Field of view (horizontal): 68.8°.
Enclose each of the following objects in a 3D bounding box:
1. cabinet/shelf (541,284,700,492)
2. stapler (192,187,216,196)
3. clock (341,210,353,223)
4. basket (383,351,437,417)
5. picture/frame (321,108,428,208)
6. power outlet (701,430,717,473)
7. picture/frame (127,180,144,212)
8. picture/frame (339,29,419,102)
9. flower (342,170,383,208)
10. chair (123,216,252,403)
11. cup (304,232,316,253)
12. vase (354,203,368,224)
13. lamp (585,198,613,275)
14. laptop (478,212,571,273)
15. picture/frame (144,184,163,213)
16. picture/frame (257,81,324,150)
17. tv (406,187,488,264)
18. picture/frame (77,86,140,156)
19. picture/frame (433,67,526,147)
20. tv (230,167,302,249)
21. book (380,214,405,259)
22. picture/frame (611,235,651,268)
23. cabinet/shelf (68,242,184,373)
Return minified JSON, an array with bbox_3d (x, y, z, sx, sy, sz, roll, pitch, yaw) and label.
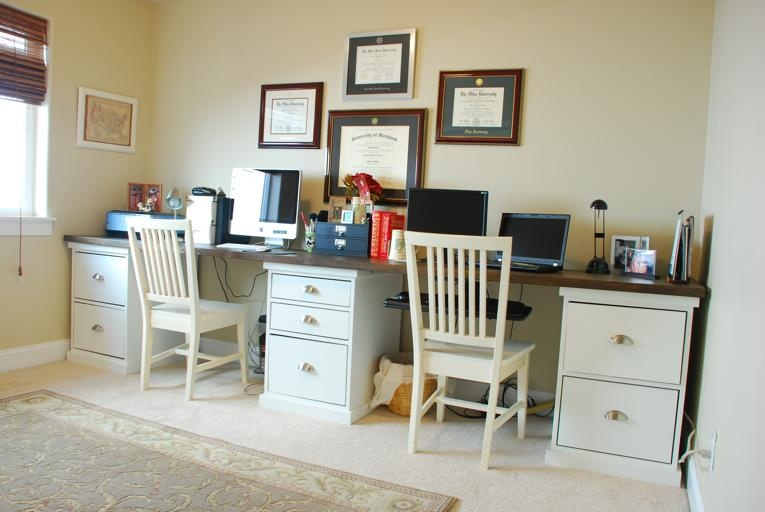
[{"bbox_3d":[1.390,0.693,3.343,0.782,1.009,0.734,5,1,24],"label":"cabinet/shelf"},{"bbox_3d":[-1.366,-0.480,4.282,0.144,0.046,0.099,2,3,-11],"label":"stapler"},{"bbox_3d":[-0.247,-0.280,3.959,0.095,0.092,0.050,2,3,30],"label":"clock"},{"bbox_3d":[0.154,0.951,3.784,0.279,0.210,0.278,-14,-22,-4],"label":"basket"},{"bbox_3d":[-0.022,-0.718,4.040,0.787,0.667,0.058,2,2,20],"label":"picture/frame"},{"bbox_3d":[1.530,0.905,2.600,0.028,0.203,0.151,8,14,20],"label":"power outlet"},{"bbox_3d":[-2.081,-0.503,4.677,0.130,0.219,0.225,0,14,-12],"label":"picture/frame"},{"bbox_3d":[0.002,-1.386,4.035,0.574,0.482,0.043,3,7,18],"label":"picture/frame"},{"bbox_3d":[-0.170,-0.494,4.053,0.338,0.227,0.182,10,15,29],"label":"flower"},{"bbox_3d":[-1.419,0.312,3.962,0.872,1.257,0.687,11,16,31],"label":"chair"},{"bbox_3d":[-0.513,-0.100,3.998,0.058,0.129,0.100,-1,14,-16],"label":"cup"},{"bbox_3d":[-0.155,-0.311,3.953,0.090,0.138,0.057,3,14,3],"label":"vase"},{"bbox_3d":[1.362,-0.134,3.484,0.154,0.436,0.358,7,14,18],"label":"lamp"},{"bbox_3d":[0.947,-0.093,3.527,0.479,0.339,0.412,4,7,33],"label":"laptop"},{"bbox_3d":[-1.927,-0.493,4.714,0.134,0.225,0.221,-5,15,-28],"label":"picture/frame"},{"bbox_3d":[-0.682,-1.089,4.289,0.553,0.510,0.039,3,6,21],"label":"picture/frame"},{"bbox_3d":[0.442,-0.294,3.745,0.565,0.389,0.049,8,27,21],"label":"tv"},{"bbox_3d":[-2.234,-1.098,4.531,0.037,0.467,0.515,9,8,24],"label":"picture/frame"},{"bbox_3d":[0.694,-1.023,3.809,0.576,0.481,0.042,4,3,23],"label":"picture/frame"},{"bbox_3d":[-0.851,-0.361,4.259,0.672,0.631,0.213,5,2,26],"label":"tv"},{"bbox_3d":[0.037,-0.147,3.946,0.178,0.287,0.307,1,1,-1],"label":"book"},{"bbox_3d":[1.520,-0.022,3.397,0.190,0.185,0.069,-3,-7,43],"label":"picture/frame"},{"bbox_3d":[-2.001,0.358,4.529,0.795,0.975,0.852,9,7,42],"label":"cabinet/shelf"}]
